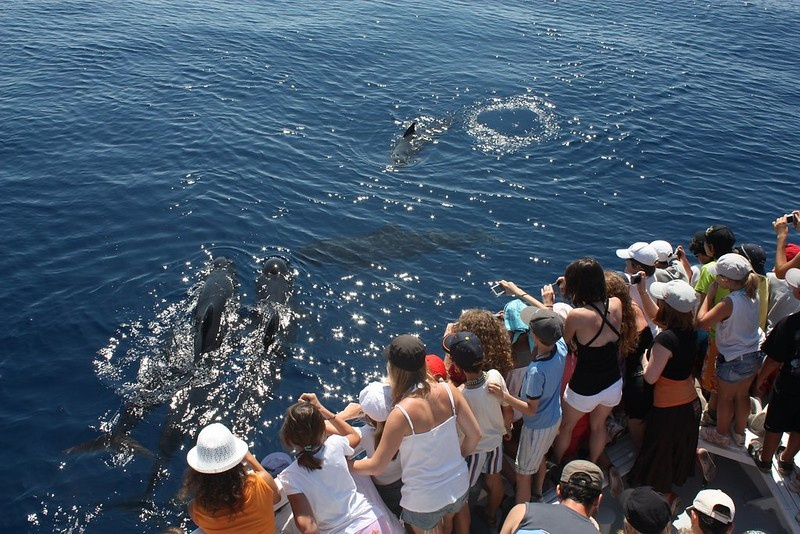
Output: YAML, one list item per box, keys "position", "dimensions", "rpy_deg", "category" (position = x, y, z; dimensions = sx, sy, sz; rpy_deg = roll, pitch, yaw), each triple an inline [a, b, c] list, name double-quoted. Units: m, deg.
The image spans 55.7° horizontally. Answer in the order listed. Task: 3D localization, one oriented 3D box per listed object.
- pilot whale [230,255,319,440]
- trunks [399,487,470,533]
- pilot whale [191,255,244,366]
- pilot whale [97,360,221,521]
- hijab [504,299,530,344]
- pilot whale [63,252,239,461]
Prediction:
- position: [-3.680, 1.876, 21.170]
  dimensions: [1.694, 1.605, 4.090]
  rpy_deg: [6, 61, -9]
  category: "pilot whale"
- position: [0.615, 5.056, 15.627]
  dimensions: [1.344, 0.938, 0.771]
  rpy_deg: [-10, 74, -11]
  category: "trunks"
- position: [-5.146, 1.110, 21.001]
  dimensions: [0.789, 0.929, 2.806]
  rpy_deg: [13, 54, -12]
  category: "pilot whale"
- position: [-5.839, 4.203, 18.683]
  dimensions: [2.108, 0.871, 3.079]
  rpy_deg: [31, 70, 7]
  category: "pilot whale"
- position: [2.527, 1.177, 16.906]
  dimensions: [0.662, 0.254, 0.827]
  rpy_deg: [1, 72, -9]
  category: "hijab"
- position: [-6.115, 2.462, 20.518]
  dimensions: [1.963, 1.503, 6.213]
  rpy_deg: [27, 65, -1]
  category: "pilot whale"
